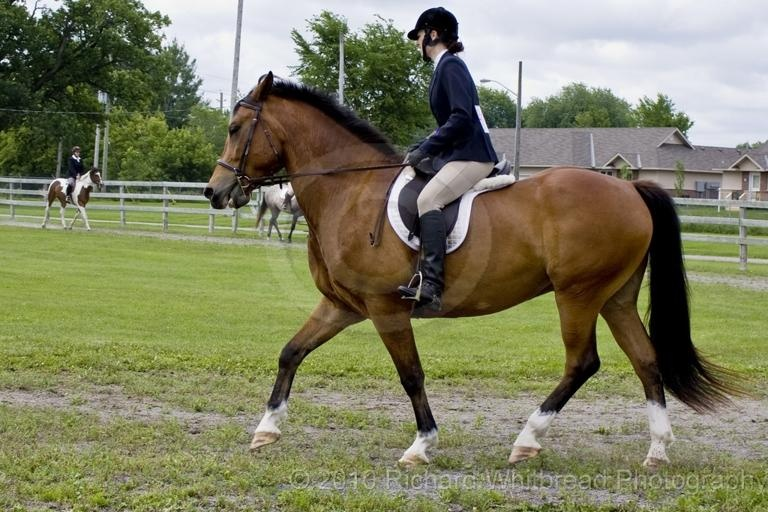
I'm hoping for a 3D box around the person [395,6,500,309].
[{"bbox_3d":[0.860,-1.333,12.192,1.126,4.070,0.820,3,5,2],"label":"person"}]

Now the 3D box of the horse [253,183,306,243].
[{"bbox_3d":[-3.029,-1.472,29.050,2.834,1.853,0.818,9,-3,43],"label":"horse"}]

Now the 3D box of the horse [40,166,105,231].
[{"bbox_3d":[-10.863,-1.944,31.352,3.166,2.122,0.656,3,-3,38],"label":"horse"}]

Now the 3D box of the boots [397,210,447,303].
[{"bbox_3d":[0.541,0.026,12.015,0.530,1.291,0.214,2,5,0],"label":"boots"}]

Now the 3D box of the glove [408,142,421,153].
[{"bbox_3d":[0.448,-1.532,12.429,0.078,0.075,0.264,7,42,40],"label":"glove"}]
